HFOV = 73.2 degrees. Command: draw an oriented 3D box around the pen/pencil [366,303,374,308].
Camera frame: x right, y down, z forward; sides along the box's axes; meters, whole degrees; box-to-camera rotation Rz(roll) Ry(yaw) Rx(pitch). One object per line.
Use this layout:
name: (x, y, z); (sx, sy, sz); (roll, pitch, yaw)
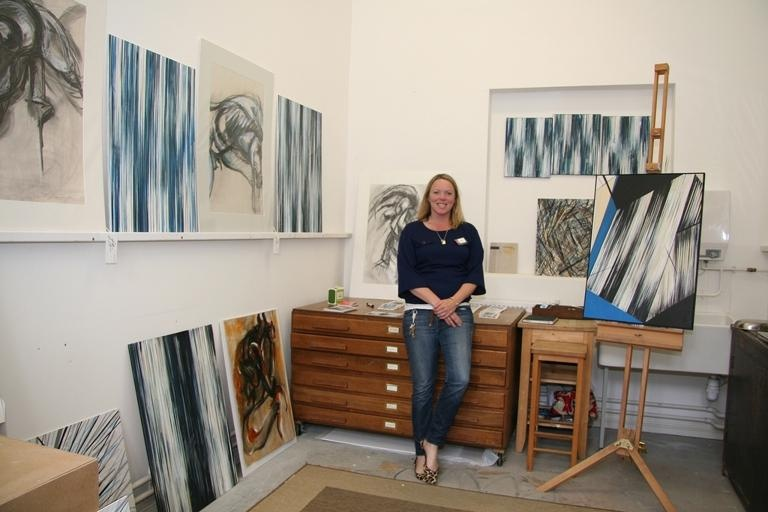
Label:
pen/pencil: (-0.124, 0.439, 4.623); (0.027, 0.028, 0.045); (2, 0, -39)

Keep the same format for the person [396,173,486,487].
person: (0.460, 0.502, 3.968); (0.688, 2.232, 0.723); (-2, 11, -15)

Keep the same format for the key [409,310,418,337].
key: (0.214, 0.505, 3.876); (0.051, 0.182, 0.049); (3, -14, 7)

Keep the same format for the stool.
stool: (1.433, 1.144, 4.255); (0.470, 0.971, 0.894); (4, 11, 17)
